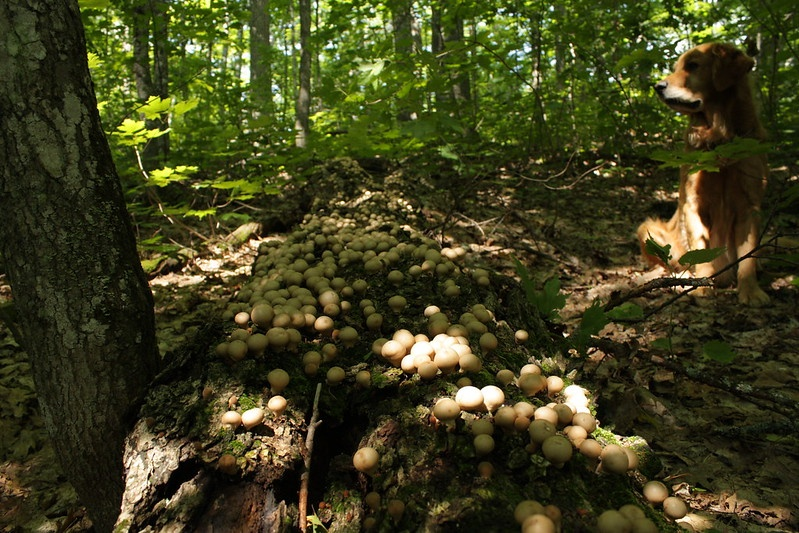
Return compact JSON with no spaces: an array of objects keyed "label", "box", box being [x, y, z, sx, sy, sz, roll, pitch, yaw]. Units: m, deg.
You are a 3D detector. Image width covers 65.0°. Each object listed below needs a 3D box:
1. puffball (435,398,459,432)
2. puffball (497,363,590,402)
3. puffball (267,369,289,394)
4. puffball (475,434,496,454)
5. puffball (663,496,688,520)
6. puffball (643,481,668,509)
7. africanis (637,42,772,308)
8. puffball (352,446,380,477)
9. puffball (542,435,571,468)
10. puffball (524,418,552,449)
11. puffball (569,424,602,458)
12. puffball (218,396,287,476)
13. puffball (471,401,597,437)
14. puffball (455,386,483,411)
[{"label":"puffball","box":[0.462,1.437,6.047,0.197,0.260,0.179,-27,22,32]},{"label":"puffball","box":[1.452,1.195,6.420,0.900,0.374,0.346,-4,16,5]},{"label":"puffball","box":[-1.232,1.188,6.431,0.219,0.250,0.143,-10,17,-12]},{"label":"puffball","box":[0.801,1.684,5.937,0.190,0.171,0.098,5,-28,3]},{"label":"puffball","box":[2.545,2.231,5.793,0.186,0.166,0.224,2,-15,9]},{"label":"puffball","box":[2.392,2.118,5.848,0.222,0.206,0.242,9,55,1]},{"label":"africanis","box":[4.297,-1.388,8.676,1.638,3.653,1.889,-2,8,6]},{"label":"puffball","box":[-0.319,1.897,6.053,0.267,0.226,0.256,17,-29,-18]},{"label":"puffball","box":[1.484,1.713,5.861,0.282,0.195,0.260,-3,37,11]},{"label":"puffball","box":[1.330,1.561,5.926,0.265,0.235,0.247,0,-18,-1]},{"label":"puffball","box":[1.757,1.677,5.961,0.183,0.190,0.337,-33,68,-32]},{"label":"puffball","box":[-1.454,1.572,6.233,0.579,0.705,0.669,4,7,35]},{"label":"puffball","box":[1.319,1.446,6.079,1.037,0.315,0.783,-1,2,39]},{"label":"puffball","box":[0.680,1.271,6.066,0.244,0.126,0.247,22,31,33]}]
